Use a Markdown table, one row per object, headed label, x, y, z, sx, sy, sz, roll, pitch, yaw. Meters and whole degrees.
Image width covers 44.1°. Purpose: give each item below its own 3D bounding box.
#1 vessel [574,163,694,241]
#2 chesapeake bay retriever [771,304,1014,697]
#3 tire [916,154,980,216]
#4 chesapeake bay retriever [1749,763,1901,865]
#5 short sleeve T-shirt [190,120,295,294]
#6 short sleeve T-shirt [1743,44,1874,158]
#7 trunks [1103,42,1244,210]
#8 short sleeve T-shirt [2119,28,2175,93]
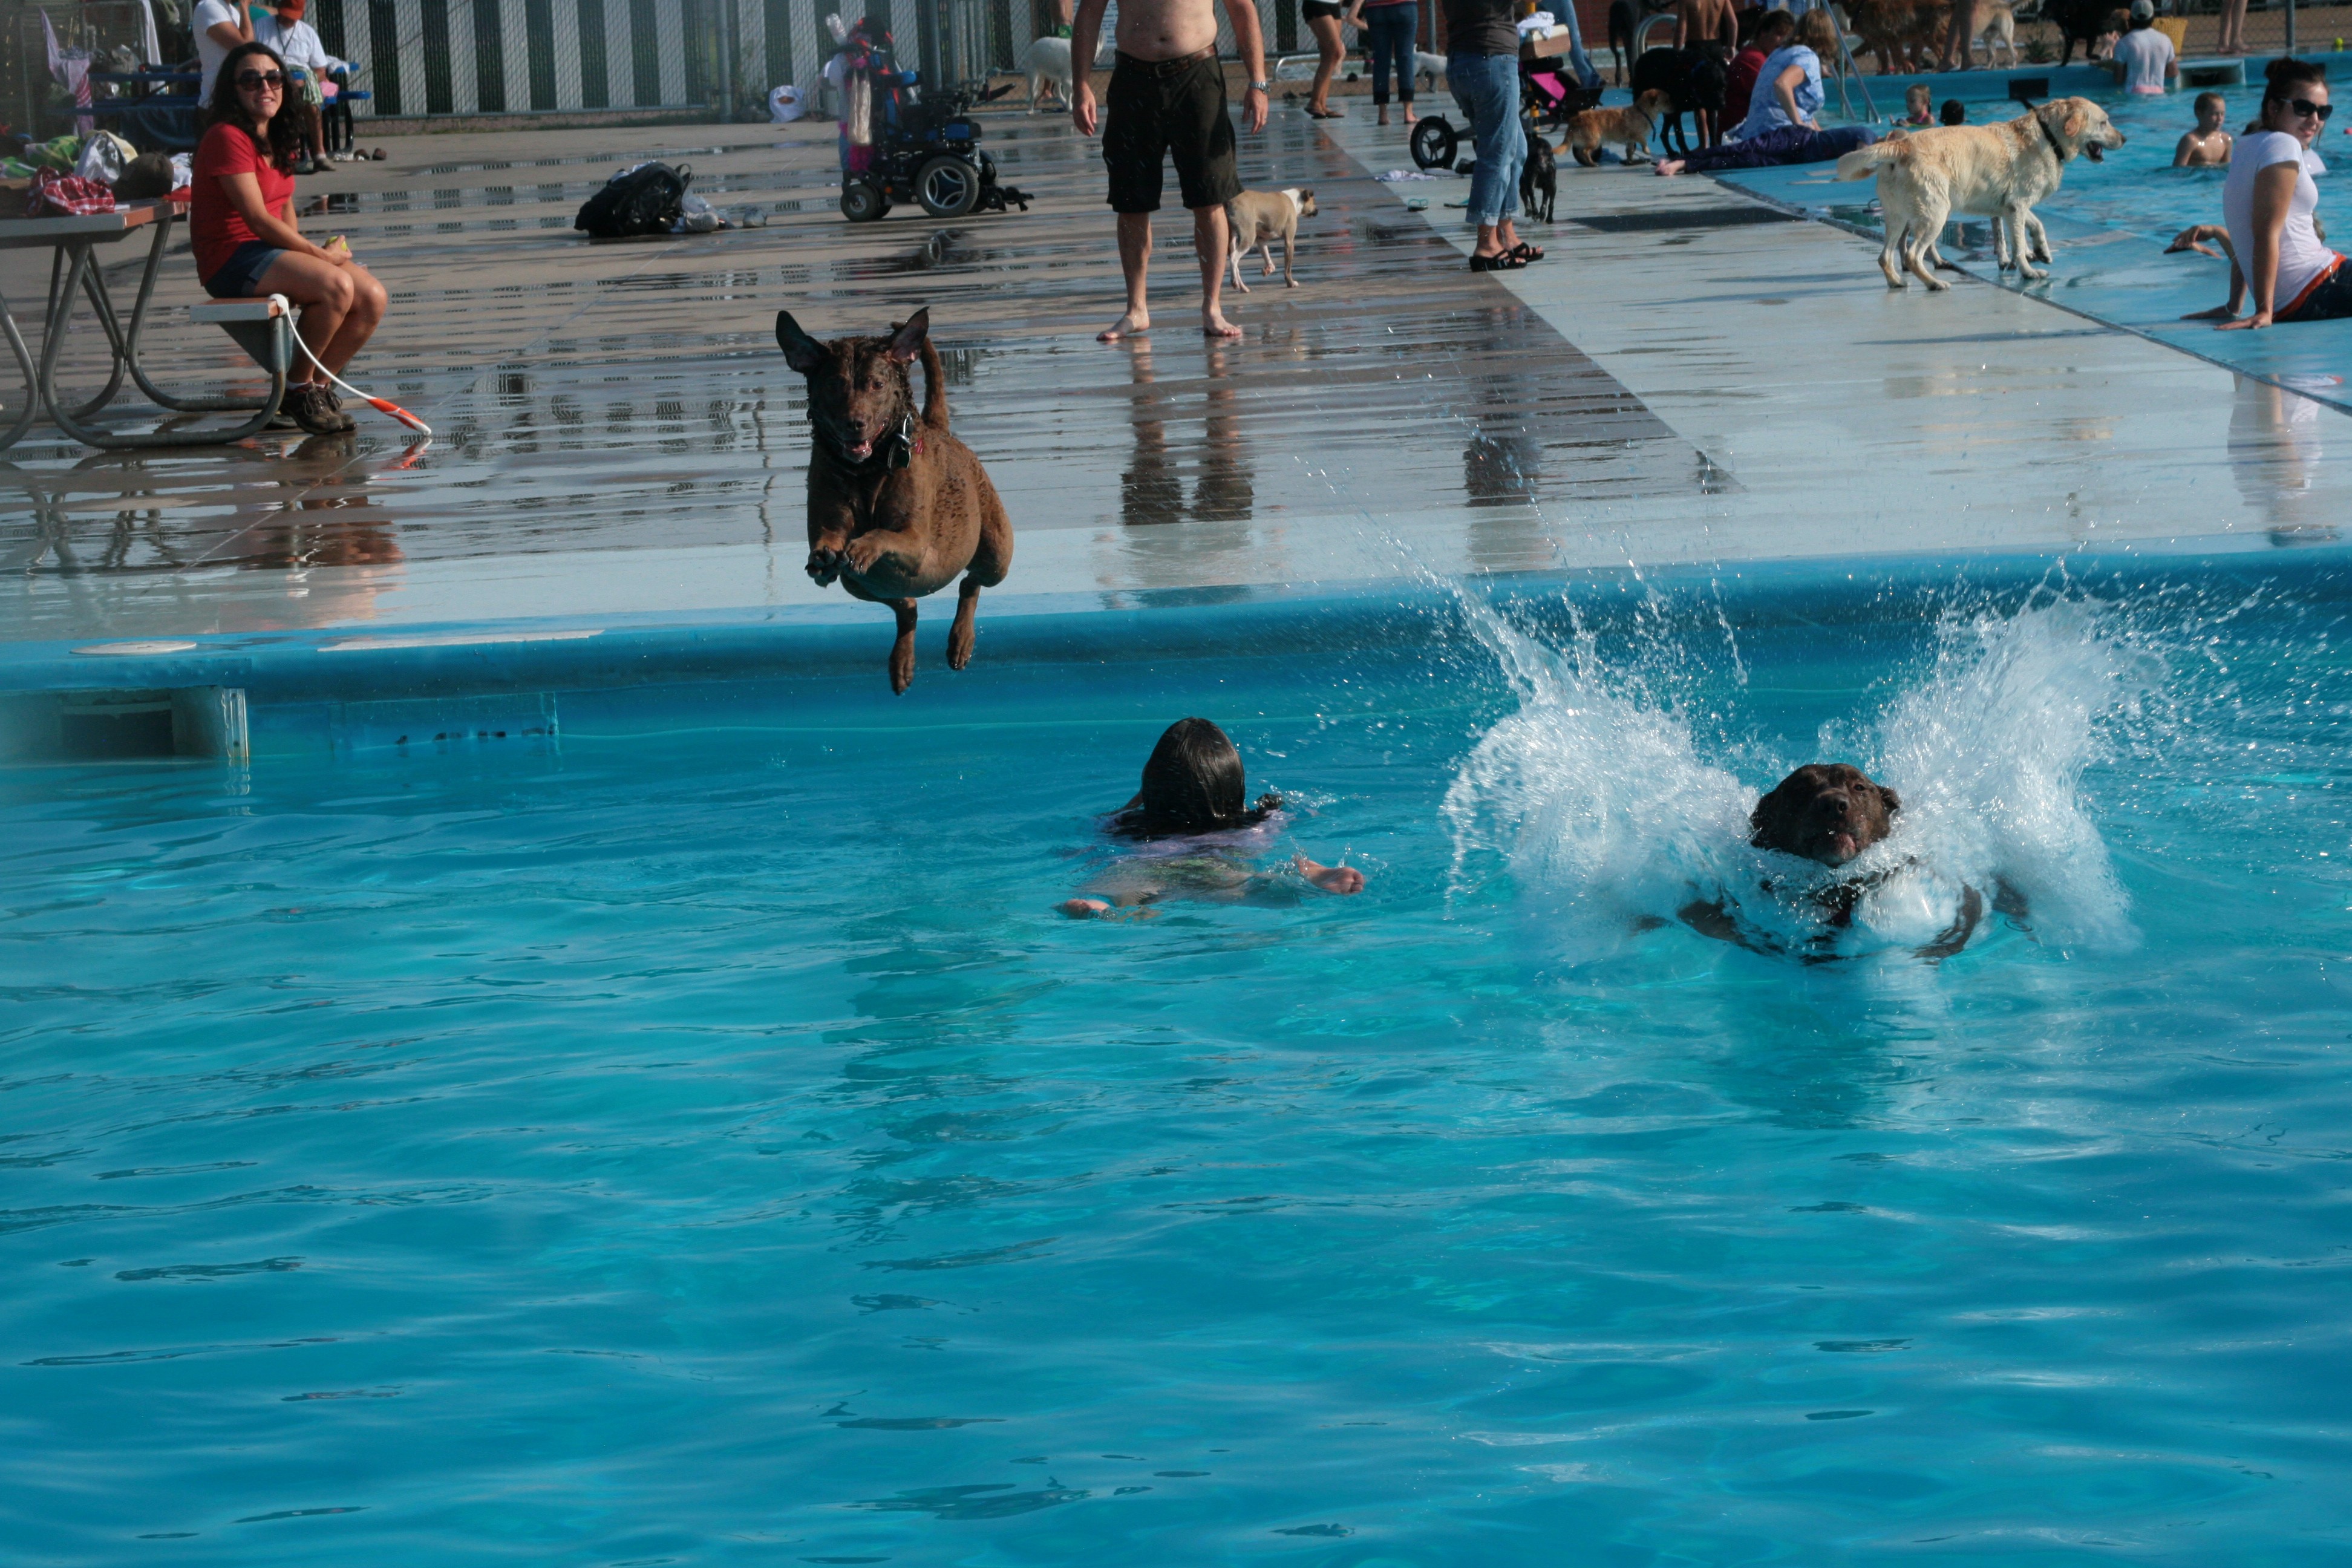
| label | x | y | z | sx | sy | sz | roll | pitch | yaw |
| --- | --- | --- | --- | --- | --- | --- | --- | --- | --- |
| vessel | -3.872 | -4.257 | 21.220 | 0.552 | 0.223 | 0.854 | 12 | 28 | 43 |
| chesapeake bay retriever | -0.821 | -0.883 | 8.344 | 0.597 | 0.939 | 1.620 | -1 | -5 | 5 |
| tire | -1.640 | -4.297 | 20.905 | 0.458 | 0.425 | 0.349 | -4 | 14 | -4 |
| chesapeake bay retriever | 1.772 | 0.100 | 7.908 | 0.385 | 0.310 | 0.380 | -1 | 13 | 9 |
| short sleeve T-shirt | -4.277 | -2.639 | 13.309 | 0.548 | 0.673 | 0.778 | 1 | 22 | -5 |
| short sleeve T-shirt | 4.869 | -5.311 | 22.613 | 0.934 | 0.917 | 1.768 | -1 | 12 | 10 |
| trunks | -0.042 | -3.128 | 14.013 | 0.611 | 0.742 | 0.464 | -4 | 14 | -3 |
| short sleeve T-shirt | 9.484 | -7.023 | 28.365 | 0.374 | 0.641 | 0.520 | 6 | 17 | 33 |
